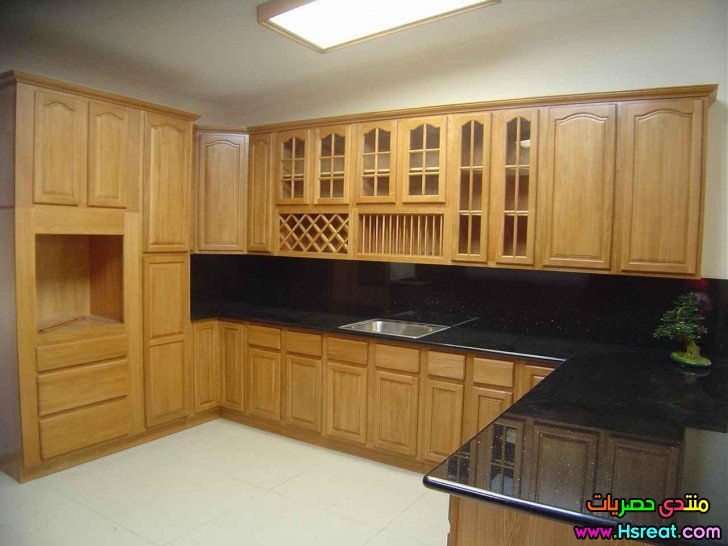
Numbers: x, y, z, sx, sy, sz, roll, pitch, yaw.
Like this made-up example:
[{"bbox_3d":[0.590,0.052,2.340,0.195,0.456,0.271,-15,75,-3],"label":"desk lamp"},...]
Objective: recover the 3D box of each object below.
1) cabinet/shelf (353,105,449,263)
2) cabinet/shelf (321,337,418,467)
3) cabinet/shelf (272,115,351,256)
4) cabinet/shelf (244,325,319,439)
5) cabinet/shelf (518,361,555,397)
[{"bbox_3d":[0.360,-0.711,4.441,0.911,1.226,0.345,4,8,34],"label":"cabinet/shelf"},{"bbox_3d":[0.074,0.996,4.123,1.032,0.982,0.399,2,2,32],"label":"cabinet/shelf"},{"bbox_3d":[-0.451,-0.712,4.643,0.849,1.117,0.237,6,15,30],"label":"cabinet/shelf"},{"bbox_3d":[-0.678,0.922,4.527,1.012,0.921,0.398,1,0,35],"label":"cabinet/shelf"},{"bbox_3d":[1.086,0.655,3.318,0.272,0.250,0.147,0,0,43],"label":"cabinet/shelf"}]
